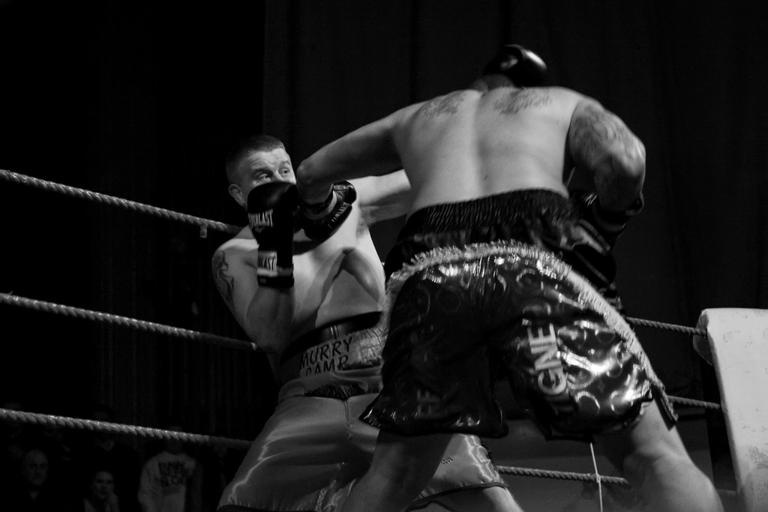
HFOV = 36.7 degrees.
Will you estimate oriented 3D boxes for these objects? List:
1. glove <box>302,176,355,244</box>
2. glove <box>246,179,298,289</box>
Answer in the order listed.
[{"bbox_3d":[-0.232,-0.186,5.117,0.178,0.284,0.104,21,-13,24],"label":"glove"},{"bbox_3d":[-0.493,-0.097,5.030,0.224,0.467,0.179,4,-9,-5],"label":"glove"}]
